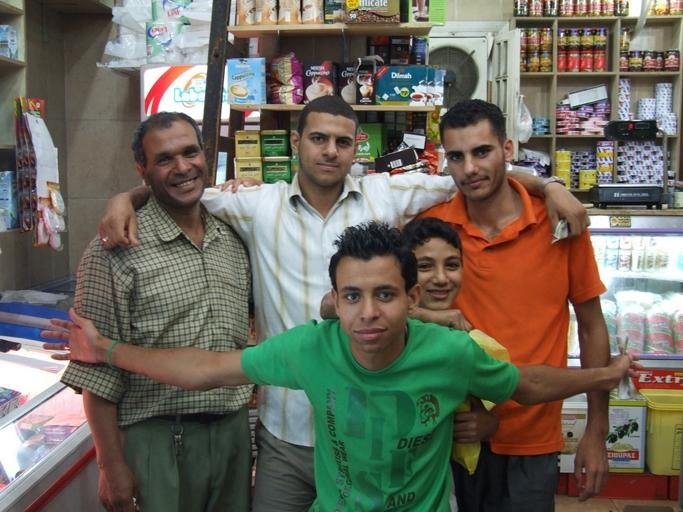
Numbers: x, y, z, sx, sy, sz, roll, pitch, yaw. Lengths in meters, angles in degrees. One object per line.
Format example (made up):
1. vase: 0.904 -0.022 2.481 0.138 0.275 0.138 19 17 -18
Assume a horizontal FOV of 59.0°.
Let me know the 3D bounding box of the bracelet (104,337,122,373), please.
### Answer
1. bracelet: -0.836 0.355 2.235 0.032 0.091 0.068 3 -11 -14

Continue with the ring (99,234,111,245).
1. ring: -0.900 -0.064 2.308 0.044 0.045 0.014 24 47 26

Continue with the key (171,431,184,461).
1. key: -0.651 0.755 2.391 0.047 0.100 0.022 -1 -4 -9

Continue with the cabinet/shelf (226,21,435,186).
1. cabinet/shelf: -0.080 -0.932 3.614 1.260 1.111 0.414 0 1 2
